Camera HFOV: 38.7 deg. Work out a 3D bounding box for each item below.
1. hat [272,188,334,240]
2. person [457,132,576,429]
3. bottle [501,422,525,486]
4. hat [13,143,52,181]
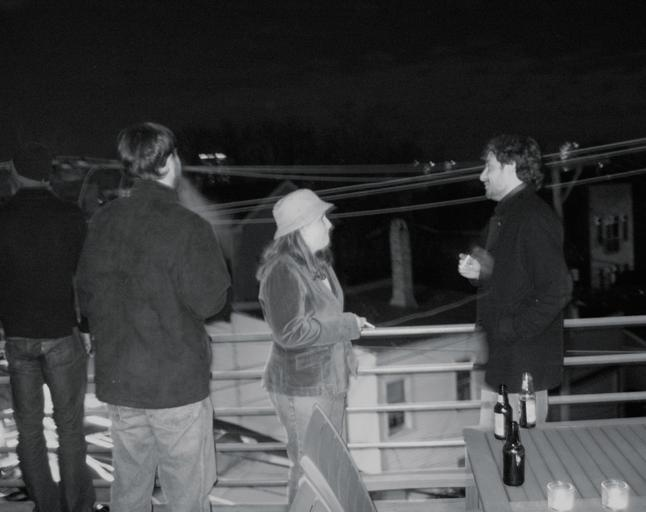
[{"bbox_3d":[-0.099,-0.200,3.936,0.236,0.125,0.198,-23,12,15],"label":"hat"},{"bbox_3d":[0.834,0.108,4.044,0.250,1.276,0.499,0,-2,-42],"label":"person"},{"bbox_3d":[0.722,0.743,3.488,0.080,0.221,0.155,-1,-2,12],"label":"bottle"},{"bbox_3d":[-1.404,-0.465,4.488,0.173,0.184,0.045,11,1,-8],"label":"hat"}]
